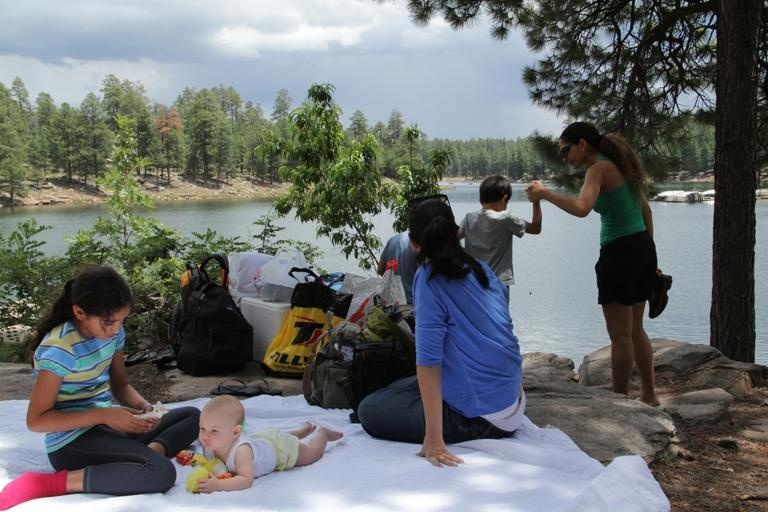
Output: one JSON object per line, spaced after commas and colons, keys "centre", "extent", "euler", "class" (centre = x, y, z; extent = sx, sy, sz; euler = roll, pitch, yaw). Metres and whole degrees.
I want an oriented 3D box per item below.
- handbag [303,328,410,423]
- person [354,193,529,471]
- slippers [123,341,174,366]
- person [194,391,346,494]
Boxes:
{"centre": [-0.270, 1.051, 6.853], "extent": [0.761, 0.774, 0.867], "euler": [-3, 8, -28], "class": "handbag"}
{"centre": [0.652, 0.586, 5.716], "extent": [0.910, 2.050, 0.640], "euler": [0, 8, 3], "class": "person"}
{"centre": [-2.839, 1.226, 8.582], "extent": [0.559, 0.137, 0.363], "euler": [0, 15, 3], "class": "slippers"}
{"centre": [-0.911, 1.475, 5.689], "extent": [1.154, 0.485, 0.516], "euler": [2, -4, -41], "class": "person"}
